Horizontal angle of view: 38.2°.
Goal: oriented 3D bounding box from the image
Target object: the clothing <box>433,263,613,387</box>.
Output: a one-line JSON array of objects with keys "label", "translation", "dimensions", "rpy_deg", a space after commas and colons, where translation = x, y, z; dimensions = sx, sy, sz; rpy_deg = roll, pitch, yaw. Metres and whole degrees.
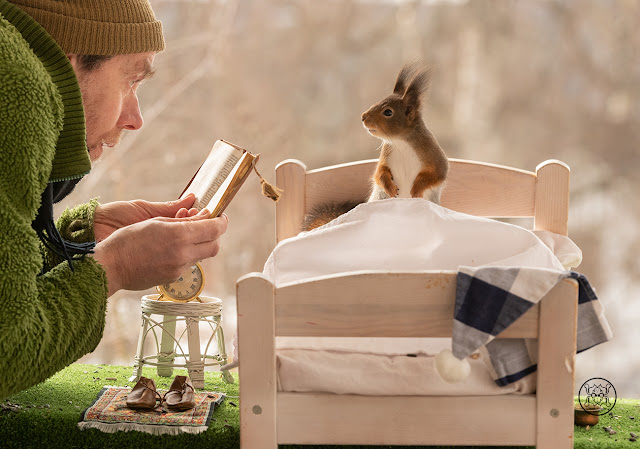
[{"label": "clothing", "translation": [0.866, 0.433, 3.833], "dimensions": [0.628, 0.489, 0.301], "rpy_deg": [4, -11, 13]}]

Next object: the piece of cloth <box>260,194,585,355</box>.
[{"label": "piece of cloth", "translation": [0.388, 0.148, 4.089], "dimensions": [1.009, 0.305, 0.775], "rpy_deg": [-3, 29, 1]}]

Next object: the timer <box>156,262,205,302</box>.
[{"label": "timer", "translation": [-0.693, 0.280, 4.530], "dimensions": [0.196, 0.196, 0.063], "rpy_deg": [-24, 5, -1]}]
